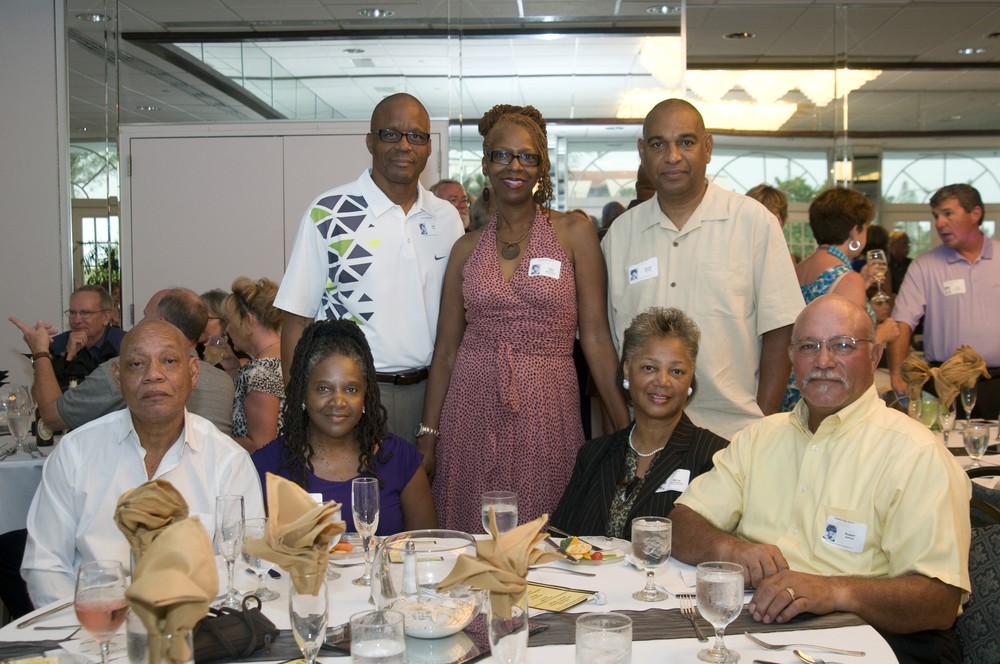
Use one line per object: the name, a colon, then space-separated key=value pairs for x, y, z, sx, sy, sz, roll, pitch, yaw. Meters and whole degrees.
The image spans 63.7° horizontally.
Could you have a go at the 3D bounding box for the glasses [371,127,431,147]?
glasses: x=-0.487 y=-0.958 z=3.950 sx=0.280 sy=0.079 sz=0.104 roll=-1 pitch=4 yaw=-7

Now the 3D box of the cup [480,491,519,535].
cup: x=0.001 y=0.669 z=3.010 sx=0.126 sy=0.136 sz=0.240 roll=-1 pitch=4 yaw=-5

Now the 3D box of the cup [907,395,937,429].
cup: x=2.341 y=0.437 z=4.433 sx=0.182 sy=0.204 sz=0.192 roll=0 pitch=-3 yaw=0
